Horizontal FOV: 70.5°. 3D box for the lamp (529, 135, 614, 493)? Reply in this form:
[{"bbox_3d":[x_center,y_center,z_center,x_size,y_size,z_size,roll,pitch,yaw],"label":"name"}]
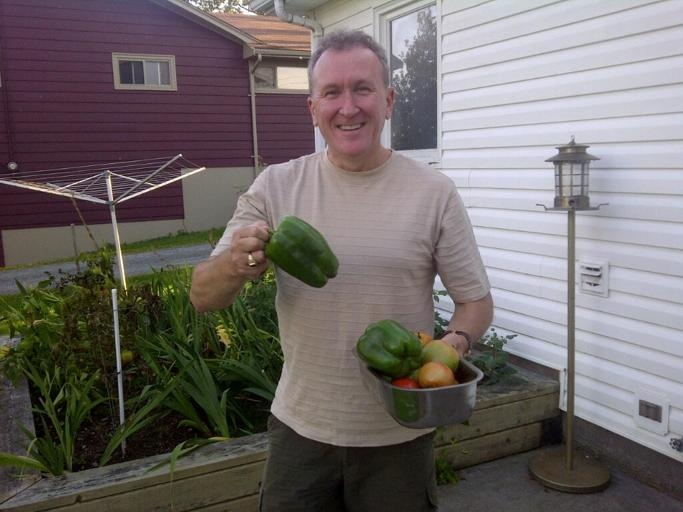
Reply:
[{"bbox_3d":[1.708,0.514,3.689,0.563,2.724,0.498,-1,6,15],"label":"lamp"}]

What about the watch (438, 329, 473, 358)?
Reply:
[{"bbox_3d":[0.453,0.359,1.941,0.121,0.109,0.116,-6,-17,3],"label":"watch"}]

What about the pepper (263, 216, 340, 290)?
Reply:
[{"bbox_3d":[-0.144,-0.016,1.888,0.184,0.258,0.167,-42,22,34],"label":"pepper"}]

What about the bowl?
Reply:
[{"bbox_3d":[0.273,0.463,1.739,0.424,0.241,0.372,1,7,-17],"label":"bowl"}]

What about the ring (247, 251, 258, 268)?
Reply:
[{"bbox_3d":[-0.329,0.015,1.770,0.035,0.049,0.012,1,15,21],"label":"ring"}]

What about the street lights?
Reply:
[{"bbox_3d":[1.792,0.405,3.751,0.714,2.586,0.741,1,-1,-35],"label":"street lights"}]
